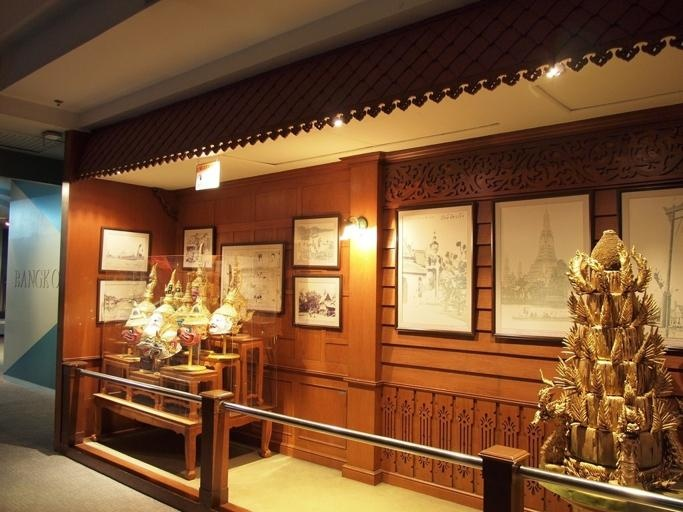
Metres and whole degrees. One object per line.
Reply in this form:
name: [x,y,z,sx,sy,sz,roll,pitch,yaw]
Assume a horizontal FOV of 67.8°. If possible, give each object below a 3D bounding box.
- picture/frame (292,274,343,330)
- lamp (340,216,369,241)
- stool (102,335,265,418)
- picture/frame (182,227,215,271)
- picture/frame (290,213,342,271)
picture/frame: [-0.243,0.511,5.644,0.605,0.627,0.041,1,0,42]
lamp: [0.147,-0.298,5.328,0.261,0.175,0.157,0,1,4]
stool: [-1.286,1.151,5.147,1.169,0.818,0.700,-2,-8,36]
picture/frame: [-1.656,-0.123,5.976,0.392,0.485,2.112,0,1,-17]
picture/frame: [-0.261,-0.162,5.695,0.598,0.615,0.045,2,2,41]
